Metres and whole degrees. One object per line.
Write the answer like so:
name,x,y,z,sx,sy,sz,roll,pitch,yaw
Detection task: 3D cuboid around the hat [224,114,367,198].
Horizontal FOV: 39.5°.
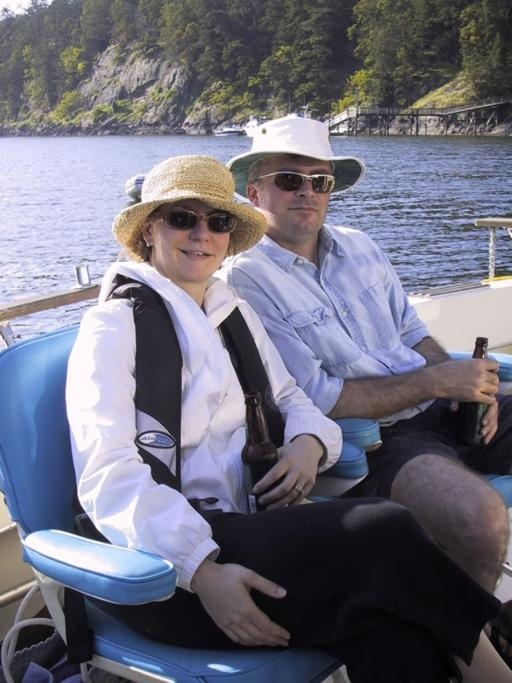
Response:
hat,0.112,-0.599,2.281,0.376,0.123,0.354,3,-9,-2

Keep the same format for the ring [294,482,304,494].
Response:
ring,0.090,0.304,1.479,0.021,0.007,0.016,36,26,17

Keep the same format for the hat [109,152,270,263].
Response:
hat,-0.145,-0.350,1.671,0.342,0.126,0.298,6,-11,-43
